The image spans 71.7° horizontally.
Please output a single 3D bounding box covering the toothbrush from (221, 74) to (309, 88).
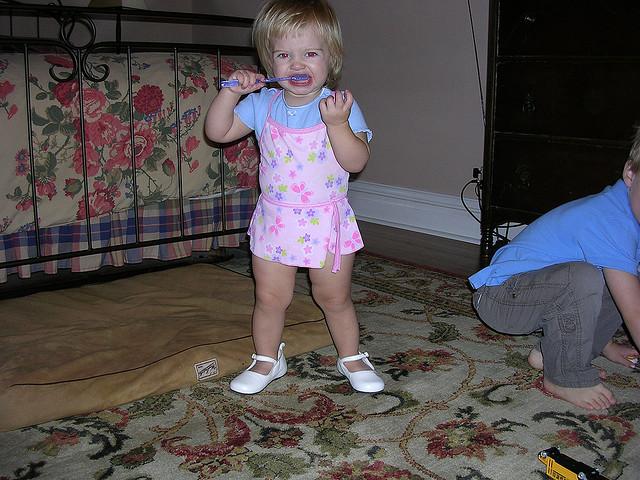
[{"bbox_3d":[-0.143,-0.419,1.183,0.255,0.030,0.072,6,16,19],"label":"toothbrush"}]

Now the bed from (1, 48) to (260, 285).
[{"bbox_3d":[-0.767,-0.316,2.178,1.245,0.675,1.166,-7,26,-25],"label":"bed"}]

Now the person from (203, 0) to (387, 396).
[{"bbox_3d":[-0.059,-0.104,1.275,0.510,1.073,0.373,-3,15,-14],"label":"person"}]
